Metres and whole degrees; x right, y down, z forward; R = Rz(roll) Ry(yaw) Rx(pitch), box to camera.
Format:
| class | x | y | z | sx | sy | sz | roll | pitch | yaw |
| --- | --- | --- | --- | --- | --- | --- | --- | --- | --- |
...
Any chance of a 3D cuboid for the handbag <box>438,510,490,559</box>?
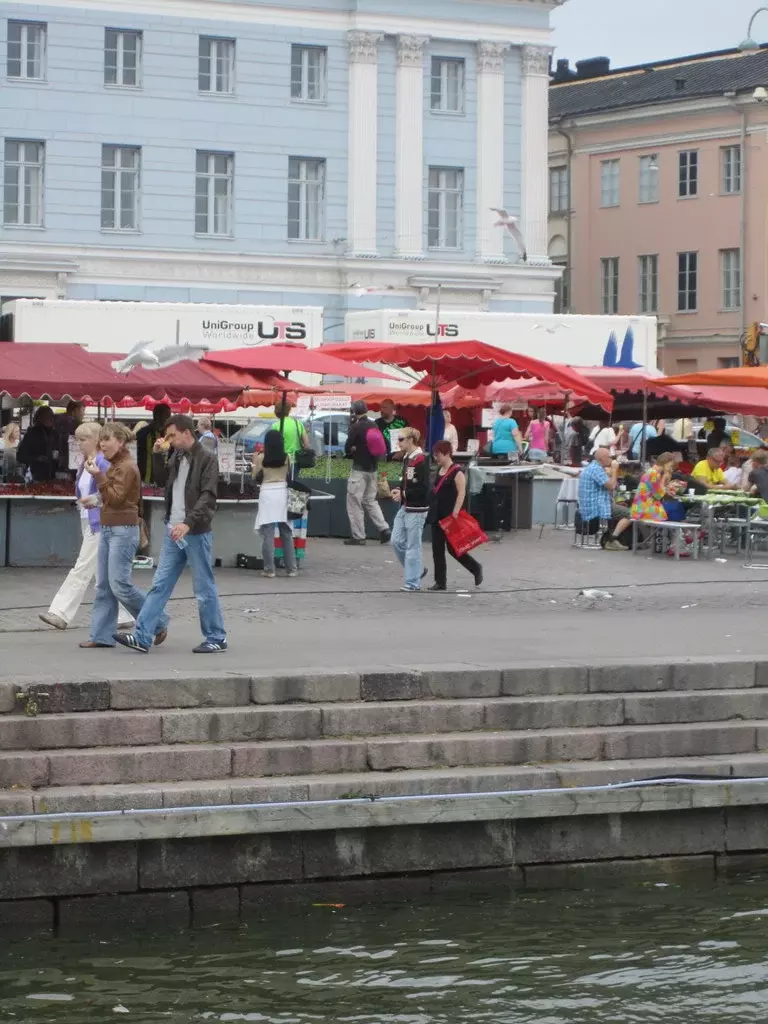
| class | x | y | z | sx | sy | sz | roll | pitch | yaw |
| --- | --- | --- | --- | --- | --- | --- | --- | --- | --- |
| handbag | 0.727 | 0.241 | 26.793 | 0.314 | 0.420 | 0.211 | -33 | 8 | -8 |

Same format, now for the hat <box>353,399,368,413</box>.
| class | x | y | z | sx | sy | sz | roll | pitch | yaw |
| --- | --- | --- | --- | --- | --- | --- | --- | --- | --- |
| hat | -0.242 | -1.085 | 30.564 | 0.104 | 0.136 | 0.135 | 1 | 15 | -2 |

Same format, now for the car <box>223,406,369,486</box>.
| class | x | y | z | sx | sy | sz | roll | pitch | yaw |
| --- | --- | --- | --- | --- | --- | --- | --- | --- | --- |
| car | -1.268 | -0.869 | 39.673 | 1.585 | 0.825 | 0.954 | 2 | 2 | -11 |

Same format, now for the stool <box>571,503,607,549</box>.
| class | x | y | z | sx | sy | sz | roll | pitch | yaw |
| --- | --- | --- | --- | --- | --- | --- | --- | --- | --- |
| stool | 2.262 | 0.236 | 31.682 | 0.374 | 0.643 | 0.353 | -1 | -1 | 34 |

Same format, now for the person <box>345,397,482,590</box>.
| class | x | y | z | sx | sy | sz | roll | pitch | yaw |
| --- | --- | --- | --- | --- | --- | --- | --- | --- | --- |
| person | 0.491 | 0.124 | 26.721 | 1.361 | 2.408 | 0.830 | 8 | -12 | -34 |

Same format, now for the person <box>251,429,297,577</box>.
| class | x | y | z | sx | sy | sz | roll | pitch | yaw |
| --- | --- | --- | --- | --- | --- | --- | --- | --- | --- |
| person | -1.013 | -0.070 | 27.218 | 0.370 | 1.389 | 0.879 | -1 | 3 | -3 |

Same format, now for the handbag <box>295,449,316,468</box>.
| class | x | y | z | sx | sy | sz | roll | pitch | yaw |
| --- | --- | --- | --- | --- | --- | --- | --- | --- | --- |
| handbag | -0.776 | -0.517 | 29.111 | 0.138 | 0.200 | 0.194 | 1 | -3 | -8 |

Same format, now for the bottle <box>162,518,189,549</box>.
| class | x | y | z | sx | sy | sz | roll | pitch | yaw |
| --- | --- | --- | --- | --- | --- | --- | --- | --- | --- |
| bottle | -1.467 | 0.192 | 20.825 | 0.119 | 0.196 | 0.191 | -17 | 12 | -39 |

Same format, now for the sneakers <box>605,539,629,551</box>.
| class | x | y | z | sx | sy | sz | roll | pitch | yaw |
| --- | --- | --- | --- | --- | --- | --- | --- | --- | --- |
| sneakers | 2.471 | 0.376 | 30.972 | 0.276 | 0.136 | 0.098 | 0 | 17 | -11 |
